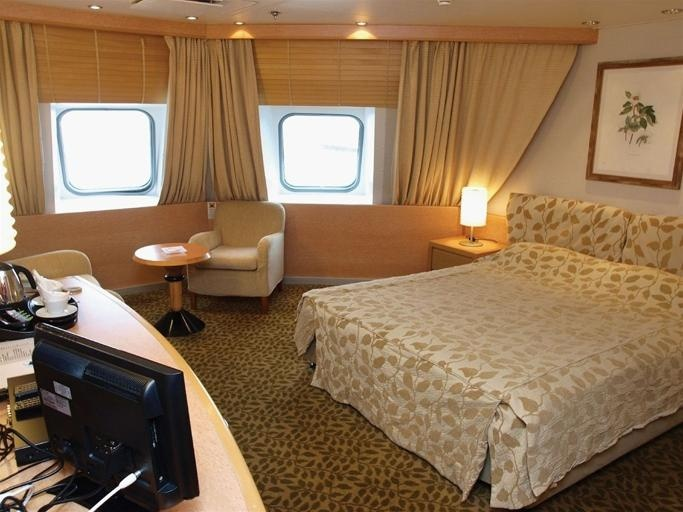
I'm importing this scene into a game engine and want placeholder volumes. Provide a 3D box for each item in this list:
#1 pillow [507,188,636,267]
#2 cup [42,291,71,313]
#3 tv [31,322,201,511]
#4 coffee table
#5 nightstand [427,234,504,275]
[{"bbox_3d":[2.276,-0.308,5.273,1.141,0.594,0.207,19,59,34],"label":"pillow"},{"bbox_3d":[-1.574,0.256,2.788,0.133,0.088,0.116,7,-10,-40],"label":"cup"},{"bbox_3d":[-0.868,0.634,1.912,0.556,0.466,0.180,19,31,28],"label":"tv"},{"bbox_3d":[-1.742,0.367,5.297,0.736,0.790,0.757,-1,11,-1],"label":"coffee table"},{"bbox_3d":[1.508,-0.150,5.986,0.443,0.596,0.603,-7,12,-31],"label":"nightstand"}]
